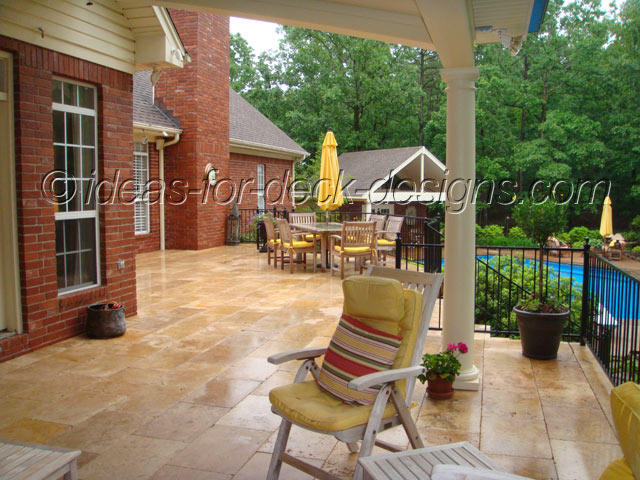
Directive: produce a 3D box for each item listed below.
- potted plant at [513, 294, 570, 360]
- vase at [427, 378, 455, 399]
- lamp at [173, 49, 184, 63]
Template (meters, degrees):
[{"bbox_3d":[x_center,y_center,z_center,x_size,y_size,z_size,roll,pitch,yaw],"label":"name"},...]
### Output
[{"bbox_3d":[2.653,1.067,5.637,0.594,0.736,0.437,2,4,22],"label":"potted plant"},{"bbox_3d":[1.216,1.479,4.693,0.222,0.170,0.224,-2,-2,44],"label":"vase"},{"bbox_3d":[-2.299,-2.992,7.568,0.040,0.164,0.157,3,-7,5],"label":"lamp"}]
